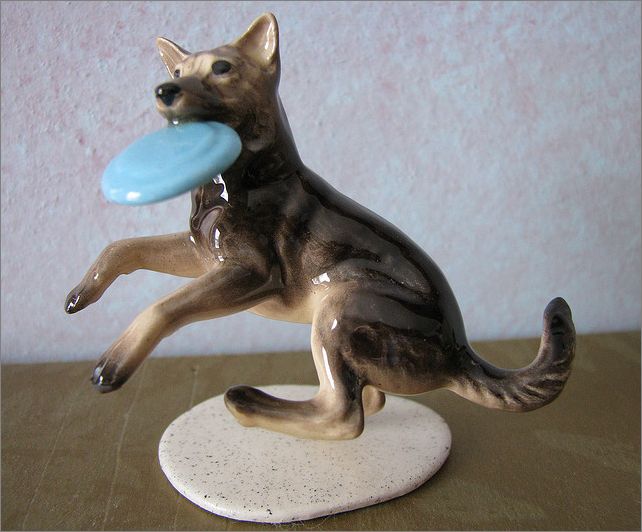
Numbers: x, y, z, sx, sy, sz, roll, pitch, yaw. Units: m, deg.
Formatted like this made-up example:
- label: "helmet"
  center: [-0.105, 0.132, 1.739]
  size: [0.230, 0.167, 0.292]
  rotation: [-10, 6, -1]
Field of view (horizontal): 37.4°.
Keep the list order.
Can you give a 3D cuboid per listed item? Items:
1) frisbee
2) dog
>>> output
- label: "frisbee"
  center: [-0.312, -0.184, 1.989]
  size: [0.313, 0.056, 0.305]
  rotation: [-22, 3, -4]
- label: "dog"
  center: [-0.022, -0.059, 2.015]
  size: [1.042, 0.844, 0.579]
  rotation: [-17, 30, -16]
